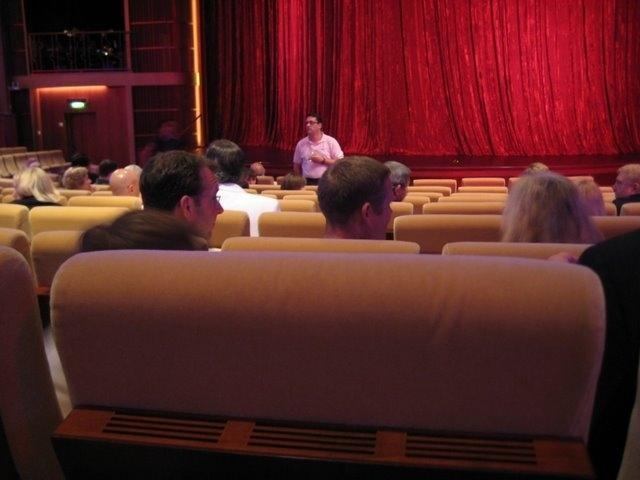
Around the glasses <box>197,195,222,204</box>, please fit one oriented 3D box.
[{"bbox_3d":[-0.421,-0.158,2.017,0.091,0.034,0.097,4,5,24],"label":"glasses"}]

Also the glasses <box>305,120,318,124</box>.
[{"bbox_3d":[-0.077,-1.429,6.422,0.137,0.055,0.078,-1,14,-1],"label":"glasses"}]

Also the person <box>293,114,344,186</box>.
[{"bbox_3d":[-0.067,-0.944,6.670,0.568,1.259,0.452,1,5,15],"label":"person"}]
